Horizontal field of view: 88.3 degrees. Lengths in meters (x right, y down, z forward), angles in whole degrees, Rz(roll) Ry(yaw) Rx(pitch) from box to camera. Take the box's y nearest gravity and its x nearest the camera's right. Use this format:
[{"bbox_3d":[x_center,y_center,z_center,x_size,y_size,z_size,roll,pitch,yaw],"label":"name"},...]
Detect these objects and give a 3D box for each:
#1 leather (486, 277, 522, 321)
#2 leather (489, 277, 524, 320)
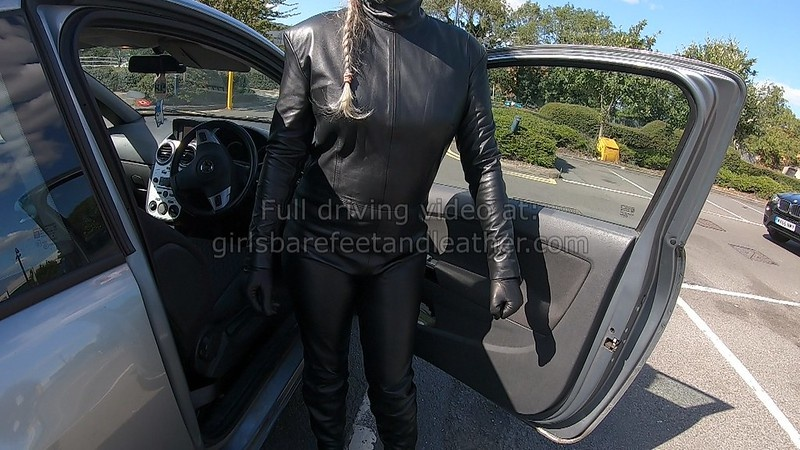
[{"bbox_3d":[0.520,0.352,2.001,0.174,0.178,0.076,2,-1,4],"label":"leather"},{"bbox_3d":[0.532,0.348,1.980,0.176,0.179,0.076,2,-3,-9],"label":"leather"}]
